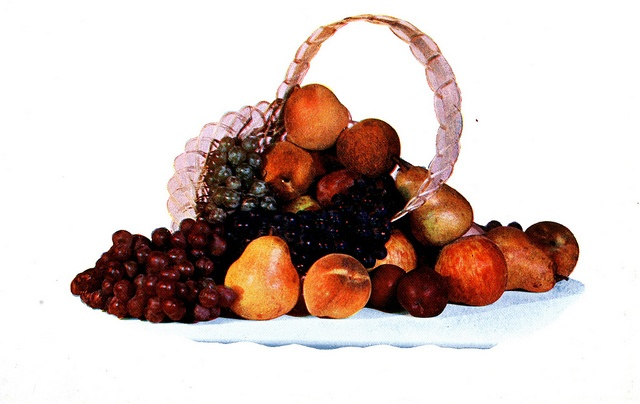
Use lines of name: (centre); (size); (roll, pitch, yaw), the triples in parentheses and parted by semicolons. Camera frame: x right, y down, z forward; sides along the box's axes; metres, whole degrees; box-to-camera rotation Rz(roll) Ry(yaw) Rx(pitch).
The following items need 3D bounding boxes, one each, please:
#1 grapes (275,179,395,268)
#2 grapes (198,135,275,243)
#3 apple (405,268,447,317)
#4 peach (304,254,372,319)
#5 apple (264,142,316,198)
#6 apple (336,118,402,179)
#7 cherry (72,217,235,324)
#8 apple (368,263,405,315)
grapes: (0.064, 0.145, 4.952); (0.632, 0.557, 0.550); (-6, -1, -29)
grapes: (-0.571, -0.081, 5.091); (0.412, 0.781, 0.387); (-6, 3, -4)
apple: (0.659, 0.578, 4.782); (0.316, 0.306, 0.138); (10, 3, 6)
peach: (0.102, 0.502, 4.695); (0.390, 0.402, 0.237); (-1, 0, -13)
apple: (-0.234, -0.218, 5.279); (0.300, 0.395, 0.218); (6, -9, -4)
apple: (0.341, -0.394, 5.313); (0.457, 0.388, 0.184); (10, 3, 2)
cherry: (-1.052, 0.486, 5.010); (0.952, 0.624, 1.197); (4, -6, 3)
apple: (0.454, 0.562, 4.974); (0.261, 0.320, 0.271); (2, -16, 14)
